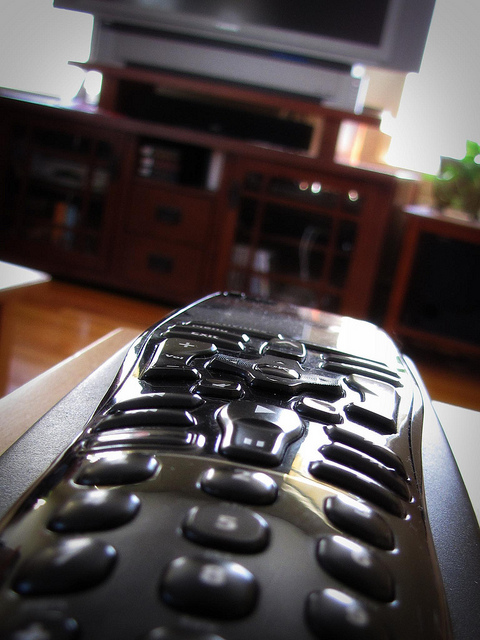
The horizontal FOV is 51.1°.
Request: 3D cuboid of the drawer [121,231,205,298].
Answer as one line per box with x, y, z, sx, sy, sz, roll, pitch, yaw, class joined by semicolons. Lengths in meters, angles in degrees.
-0.374;-0.239;2.062;0.371;0.237;0.202;8;-2;-40;drawer
